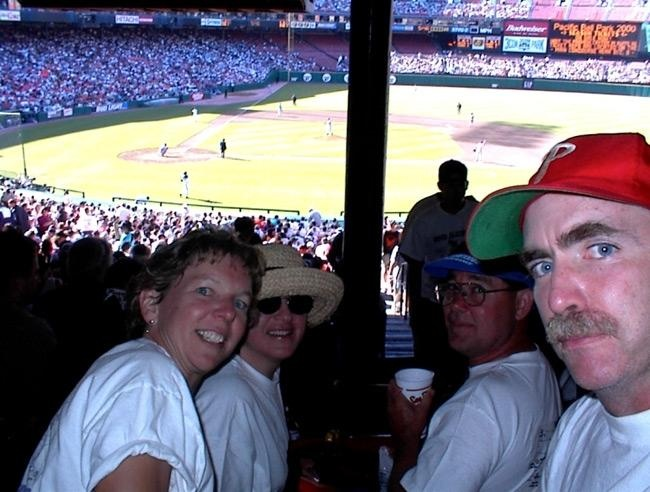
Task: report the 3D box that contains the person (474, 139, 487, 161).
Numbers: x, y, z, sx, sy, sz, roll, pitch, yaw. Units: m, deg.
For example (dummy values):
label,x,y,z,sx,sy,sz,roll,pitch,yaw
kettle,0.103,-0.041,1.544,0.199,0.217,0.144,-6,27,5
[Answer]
label,x,y,z,sx,sy,sz,roll,pitch,yaw
person,6.514,-3.917,26.503,0.412,0.515,1.281,7,48,20

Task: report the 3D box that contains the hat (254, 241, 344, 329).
label,x,y,z,sx,sy,sz,roll,pitch,yaw
hat,-0.092,0.187,2.592,0.217,0.397,0.497,2,5,19

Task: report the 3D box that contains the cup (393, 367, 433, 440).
label,x,y,z,sx,sy,sz,roll,pitch,yaw
cup,0.315,0.552,2.356,0.115,0.187,0.124,0,8,0

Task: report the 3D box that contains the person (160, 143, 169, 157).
label,x,y,z,sx,sy,sz,roll,pitch,yaw
person,-7.485,-4.446,29.380,0.382,0.691,1.315,-1,5,-15

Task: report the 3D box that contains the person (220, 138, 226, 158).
label,x,y,z,sx,sy,sz,roll,pitch,yaw
person,-4.703,-4.479,29.101,0.299,0.894,1.396,0,5,-8
